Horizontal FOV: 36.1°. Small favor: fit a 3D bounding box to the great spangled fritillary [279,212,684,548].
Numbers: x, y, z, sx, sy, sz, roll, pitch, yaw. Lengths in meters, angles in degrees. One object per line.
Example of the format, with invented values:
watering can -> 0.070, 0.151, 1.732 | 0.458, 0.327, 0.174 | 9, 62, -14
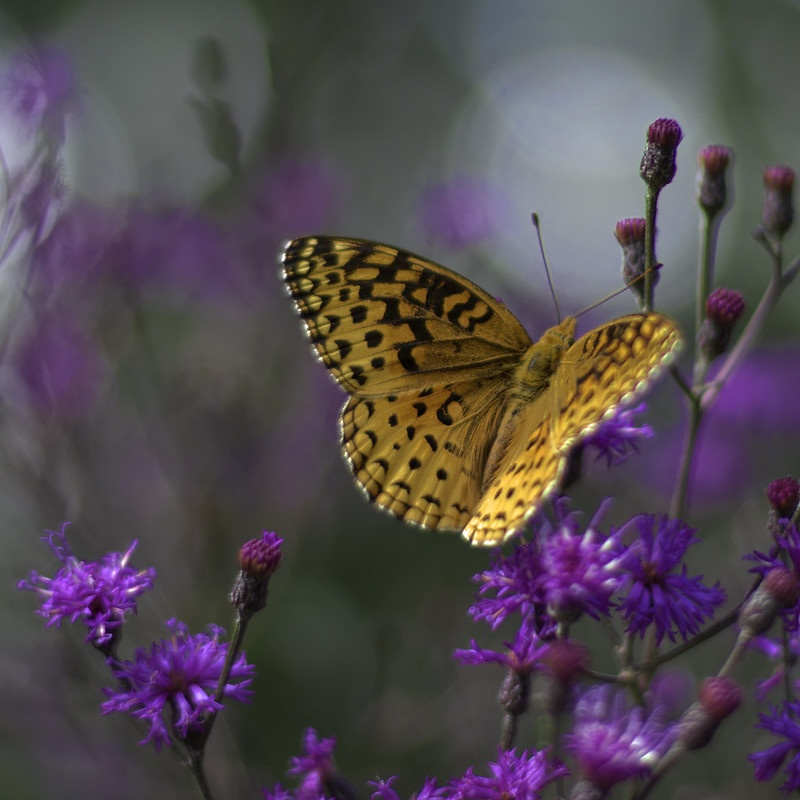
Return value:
great spangled fritillary -> 0.097, -0.009, 1.283 | 0.385, 0.254, 0.277 | 8, 17, 23
